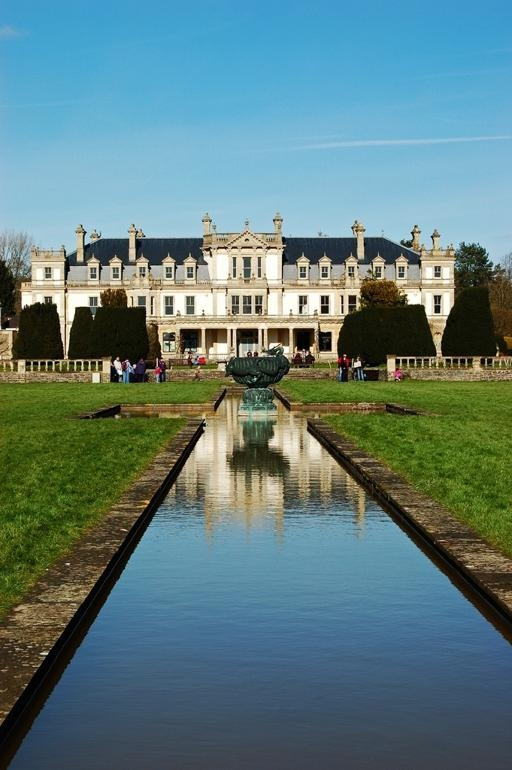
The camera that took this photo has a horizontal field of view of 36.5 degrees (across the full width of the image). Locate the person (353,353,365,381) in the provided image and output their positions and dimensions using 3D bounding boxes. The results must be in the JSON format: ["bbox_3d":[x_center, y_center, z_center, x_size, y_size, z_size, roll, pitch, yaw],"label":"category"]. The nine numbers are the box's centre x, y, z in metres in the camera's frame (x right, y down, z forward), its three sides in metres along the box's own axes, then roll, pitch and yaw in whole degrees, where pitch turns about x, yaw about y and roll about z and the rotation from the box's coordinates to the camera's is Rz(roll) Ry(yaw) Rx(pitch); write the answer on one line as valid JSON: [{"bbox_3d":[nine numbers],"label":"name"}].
[{"bbox_3d":[5.861,-1.001,44.548,0.631,1.303,2.939,2,1,7],"label":"person"}]

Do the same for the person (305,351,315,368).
[{"bbox_3d":[4.260,-2.121,61.754,1.016,1.632,1.042,0,-3,-1],"label":"person"}]

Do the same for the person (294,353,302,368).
[{"bbox_3d":[3.369,-2.121,62.265,0.727,1.044,2.322,2,1,3],"label":"person"}]
